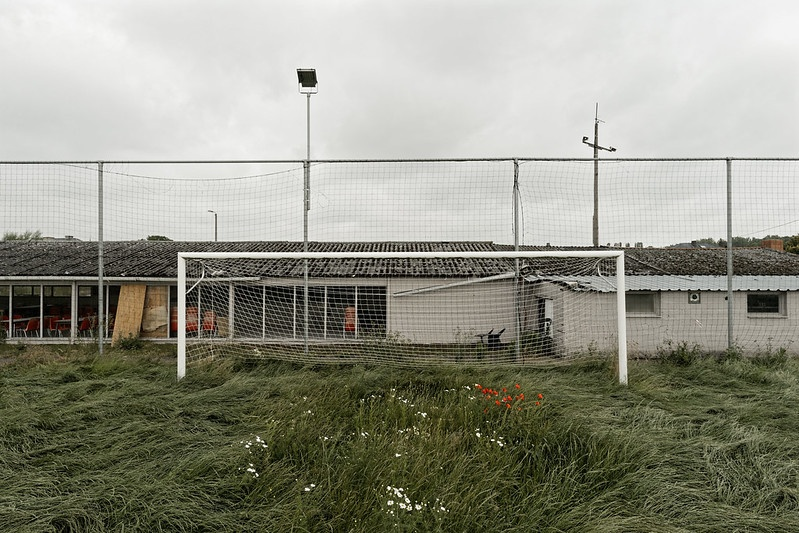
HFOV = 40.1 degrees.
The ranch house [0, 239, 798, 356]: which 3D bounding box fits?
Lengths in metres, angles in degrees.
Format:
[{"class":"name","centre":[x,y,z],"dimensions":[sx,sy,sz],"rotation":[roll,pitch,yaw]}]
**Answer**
[{"class":"ranch house","centre":[-0.339,0.481,24.752],"dimensions":[18.879,3.067,6.287],"rotation":[-1,-6,4]}]
